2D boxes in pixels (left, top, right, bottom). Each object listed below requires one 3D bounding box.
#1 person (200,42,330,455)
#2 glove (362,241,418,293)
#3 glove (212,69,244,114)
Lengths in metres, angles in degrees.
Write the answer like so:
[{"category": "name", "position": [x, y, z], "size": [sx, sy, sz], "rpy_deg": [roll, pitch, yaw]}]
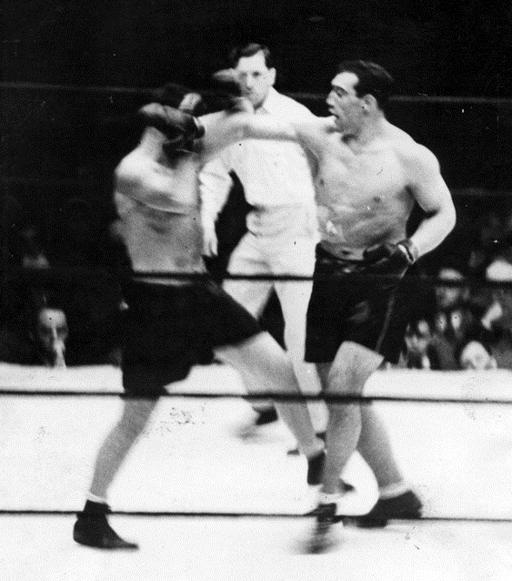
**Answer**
[{"category": "person", "position": [0.036, -0.190, 4.934], "size": [0.520, 1.465, 0.797], "rpy_deg": [0, 32, -3]}, {"category": "glove", "position": [0.555, -0.111, 4.965], "size": [0.238, 0.150, 0.101], "rpy_deg": [-11, 14, 8]}, {"category": "glove", "position": [-0.117, -0.811, 4.941], "size": [0.180, 0.154, 0.063], "rpy_deg": [-15, 9, -6]}]
